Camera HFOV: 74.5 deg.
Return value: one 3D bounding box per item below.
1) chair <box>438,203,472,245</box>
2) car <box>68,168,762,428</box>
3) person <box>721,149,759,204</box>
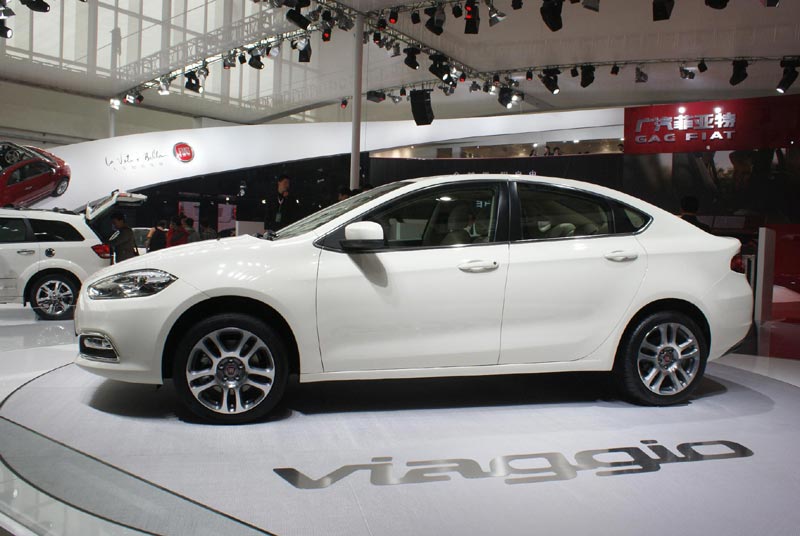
[{"bbox_3d":[0.494,-0.349,4.390,0.216,0.383,0.350,2,-9,-2],"label":"chair"},{"bbox_3d":[0.188,0.288,4.956,4.701,1.737,2.364,2,-5,-8],"label":"car"},{"bbox_3d":[8.426,-2.299,12.786,0.681,1.333,0.620,-20,6,-43],"label":"person"}]
